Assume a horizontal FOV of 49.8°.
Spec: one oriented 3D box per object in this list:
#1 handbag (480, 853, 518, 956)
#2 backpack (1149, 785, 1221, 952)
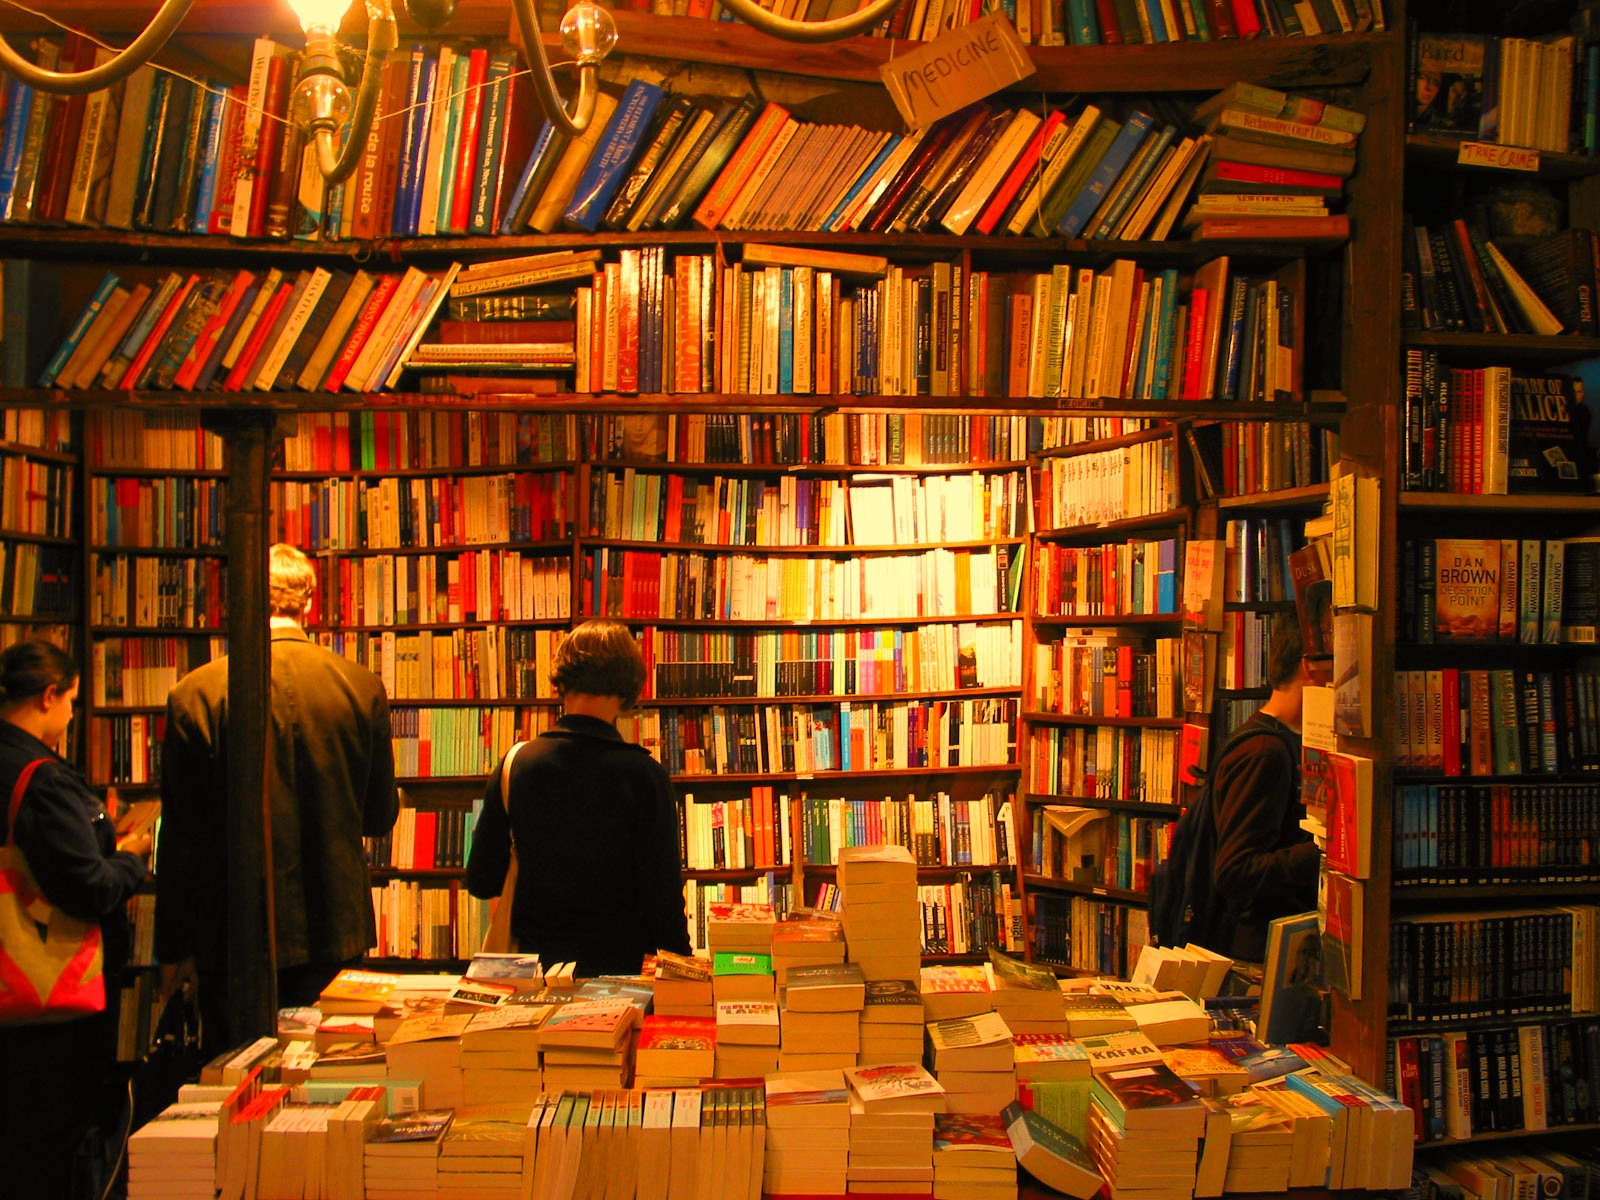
[{"bbox_3d":[-0.822,0.851,4.757,0.072,0.247,0.300,4,-15,-9],"label":"handbag"},{"bbox_3d":[1.166,0.830,5.246,0.133,0.407,0.313,4,4,13],"label":"backpack"}]
